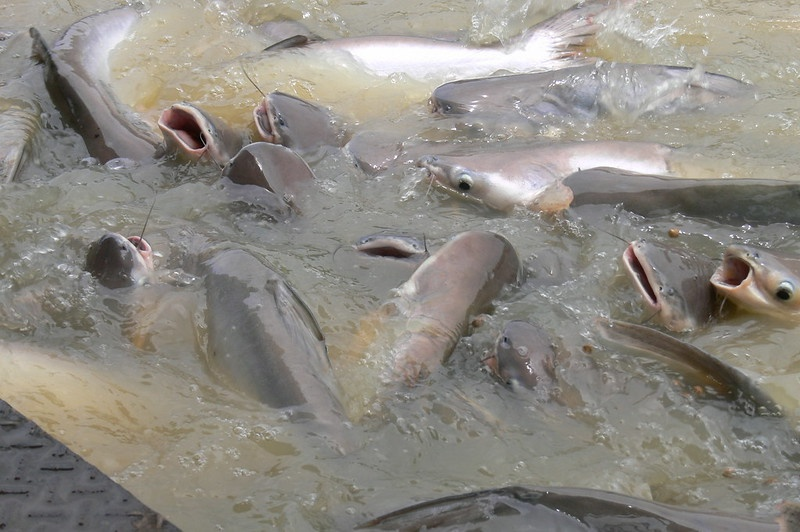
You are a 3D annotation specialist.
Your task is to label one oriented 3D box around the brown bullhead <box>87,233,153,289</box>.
[{"bbox_3d":[-1.573,-0.024,5.462,0.355,0.144,0.316,-10,52,1],"label":"brown bullhead"}]
